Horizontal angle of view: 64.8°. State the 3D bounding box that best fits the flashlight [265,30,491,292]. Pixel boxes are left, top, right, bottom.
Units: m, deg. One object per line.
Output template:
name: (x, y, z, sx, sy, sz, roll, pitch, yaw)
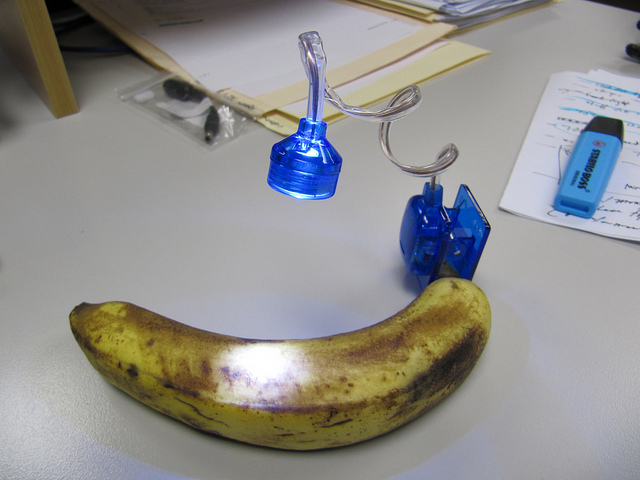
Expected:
flashlight: (0.077, -0.095, 0.659, 0.269, 0.400, 0.142, -8, 48, -9)
